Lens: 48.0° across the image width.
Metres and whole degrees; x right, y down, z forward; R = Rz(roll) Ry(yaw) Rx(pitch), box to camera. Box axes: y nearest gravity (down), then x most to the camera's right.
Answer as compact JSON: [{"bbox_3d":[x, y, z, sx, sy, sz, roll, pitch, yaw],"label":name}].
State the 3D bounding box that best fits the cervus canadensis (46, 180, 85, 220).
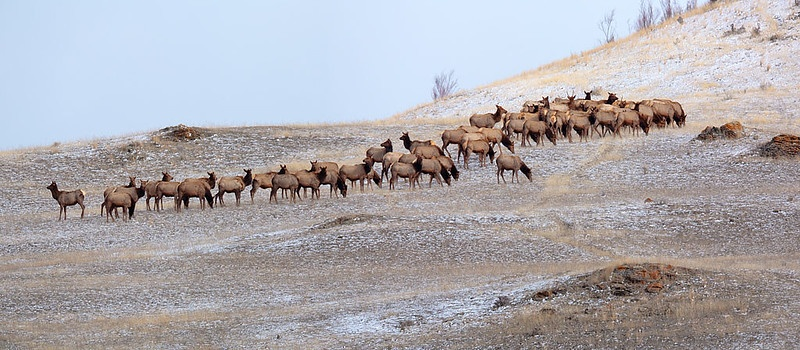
[{"bbox_3d":[-23.198,1.732,62.356,0.882,2.092,2.880,-6,-9,44],"label":"cervus canadensis"}]
